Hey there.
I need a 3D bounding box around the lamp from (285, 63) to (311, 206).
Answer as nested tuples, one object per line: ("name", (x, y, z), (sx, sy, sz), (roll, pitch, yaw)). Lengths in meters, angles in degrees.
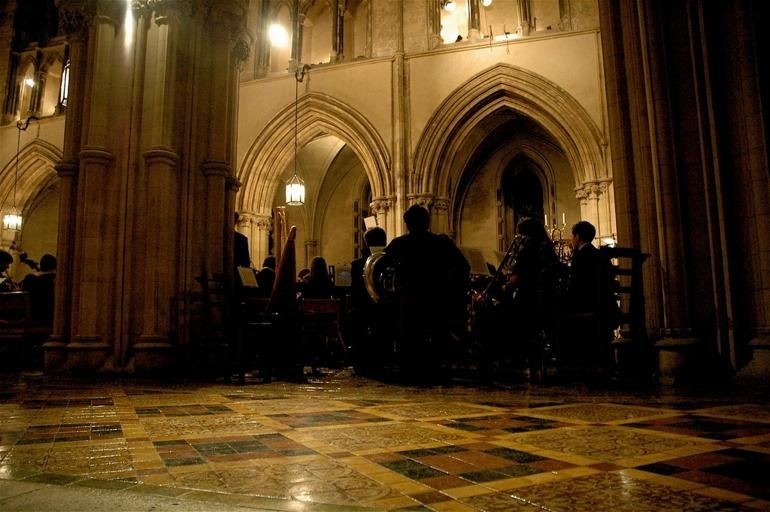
("lamp", (-2.538, -3.155, 18.385), (0.902, 5.649, 0.819), (-1, -7, 7))
